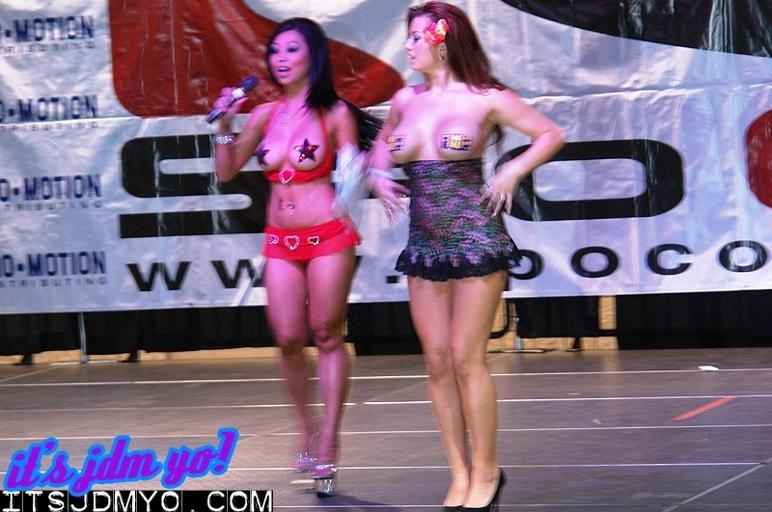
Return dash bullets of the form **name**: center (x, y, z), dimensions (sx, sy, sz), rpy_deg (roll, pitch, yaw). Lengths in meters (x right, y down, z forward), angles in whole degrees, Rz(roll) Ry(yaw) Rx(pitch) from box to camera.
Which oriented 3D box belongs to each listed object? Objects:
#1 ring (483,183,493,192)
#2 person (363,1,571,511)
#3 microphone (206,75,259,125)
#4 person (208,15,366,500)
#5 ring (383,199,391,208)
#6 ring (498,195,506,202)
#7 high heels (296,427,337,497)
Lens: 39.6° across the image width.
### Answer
- **ring**: center (0.523, -0.340, 5.448), dimensions (0.037, 0.038, 0.015), rpy_deg (-21, -10, -45)
- **person**: center (0.435, -0.027, 5.638), dimensions (0.762, 2.570, 0.751), rpy_deg (-9, 11, -31)
- **microphone**: center (-0.848, -0.882, 6.088), dimensions (0.217, 0.244, 0.364), rpy_deg (3, 11, 32)
- **person**: center (-0.515, -0.051, 6.141), dimensions (0.780, 2.562, 0.726), rpy_deg (2, 11, 30)
- **ring**: center (0.011, -0.272, 5.632), dimensions (0.049, 0.042, 0.011), rpy_deg (1, 4, 7)
- **ring**: center (0.598, -0.289, 5.448), dimensions (0.037, 0.035, 0.013), rpy_deg (-8, 11, -29)
- **high heels**: center (-0.388, 1.177, 6.016), dimensions (0.132, 0.399, 0.175), rpy_deg (16, -51, -42)
